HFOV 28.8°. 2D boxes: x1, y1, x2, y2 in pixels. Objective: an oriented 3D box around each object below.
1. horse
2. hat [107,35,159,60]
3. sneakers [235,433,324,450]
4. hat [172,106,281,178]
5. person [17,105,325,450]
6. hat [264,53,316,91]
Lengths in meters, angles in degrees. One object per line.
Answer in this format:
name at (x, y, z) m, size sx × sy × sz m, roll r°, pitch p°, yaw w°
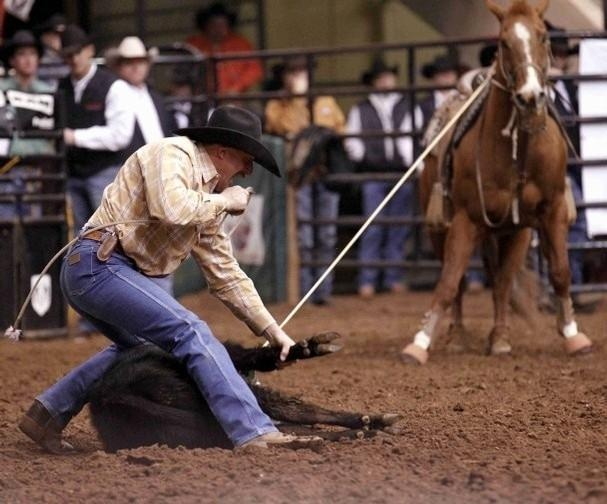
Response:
horse at (1.252, -0.426, 7.703) m, size 0.779 × 2.389 × 1.268 m, roll -12°, pitch 14°, yaw -40°
hat at (-1.348, -1.595, 9.226) m, size 0.397 × 0.172 × 0.363 m, roll -3°, pitch 10°, yaw -8°
sneakers at (-0.131, 0.980, 6.122) m, size 0.443 × 0.093 × 0.105 m, roll -4°, pitch 10°, yaw -11°
hat at (-0.390, -0.648, 6.345) m, size 0.655 × 0.253 × 0.515 m, roll 15°, pitch -3°, yaw 13°
person at (-0.703, 0.163, 6.258) m, size 1.461 × 1.823 × 0.621 m, roll -1°, pitch 11°, yaw 8°
hat at (-0.112, -1.338, 8.746) m, size 0.332 × 0.109 × 0.230 m, roll -17°, pitch 33°, yaw 0°
